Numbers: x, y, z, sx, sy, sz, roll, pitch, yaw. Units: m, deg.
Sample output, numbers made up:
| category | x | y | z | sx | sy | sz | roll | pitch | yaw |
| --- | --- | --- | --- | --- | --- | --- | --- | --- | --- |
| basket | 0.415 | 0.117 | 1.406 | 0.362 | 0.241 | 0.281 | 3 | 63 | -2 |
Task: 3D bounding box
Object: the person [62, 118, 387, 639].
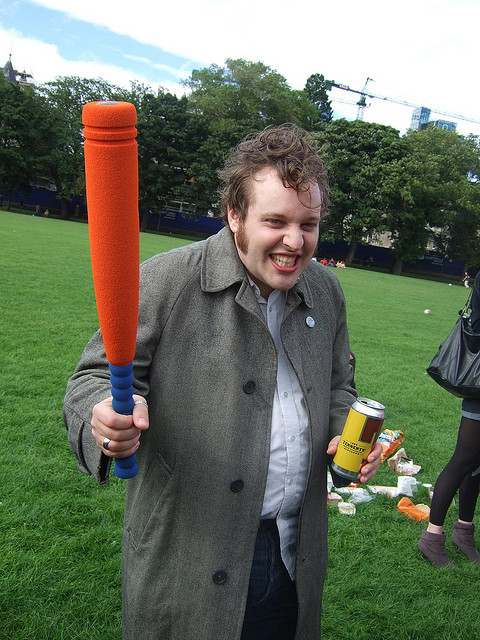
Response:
| category | x | y | z | sx | sy | sz | roll | pitch | yaw |
| --- | --- | --- | --- | --- | --- | --- | --- | --- | --- |
| person | 0.050 | 0.235 | 1.544 | 0.828 | 1.755 | 0.657 | 6 | 11 | -21 |
